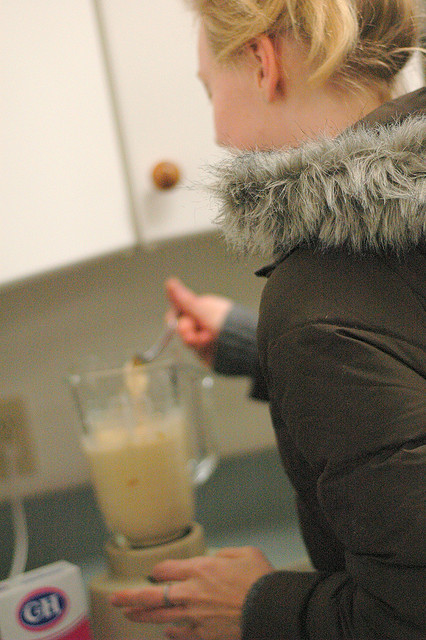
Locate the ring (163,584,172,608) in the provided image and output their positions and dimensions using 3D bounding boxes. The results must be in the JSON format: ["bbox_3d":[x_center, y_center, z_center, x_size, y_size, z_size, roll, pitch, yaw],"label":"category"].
[{"bbox_3d":[-0.063,0.375,0.992,0.010,0.021,0.020,-5,13,9],"label":"ring"}]

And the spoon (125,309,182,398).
[{"bbox_3d":[-0.083,0.044,0.981,0.136,0.017,0.025,-55,1,-14],"label":"spoon"}]
